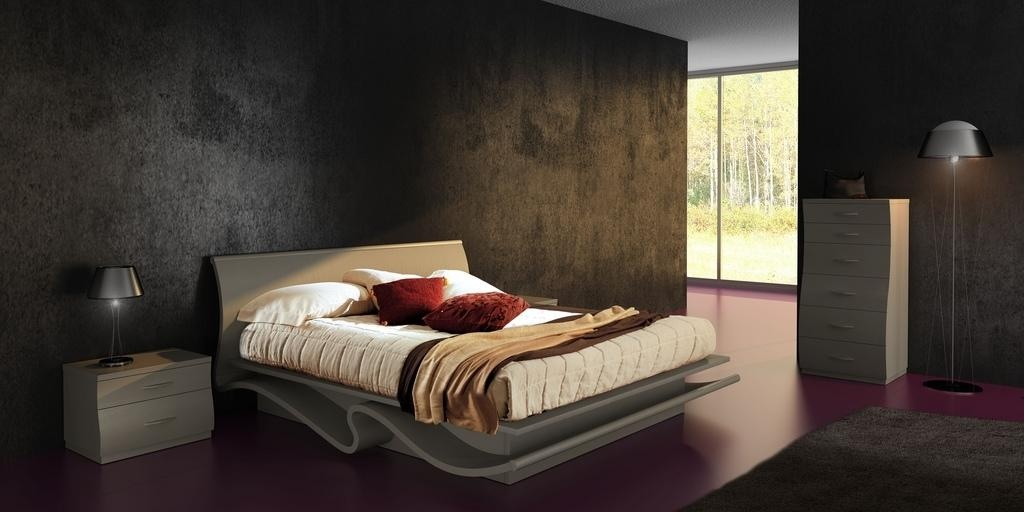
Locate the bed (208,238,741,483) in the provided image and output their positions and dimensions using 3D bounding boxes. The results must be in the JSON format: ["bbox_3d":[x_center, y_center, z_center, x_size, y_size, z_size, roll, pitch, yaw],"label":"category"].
[{"bbox_3d":[-0.724,0.939,6.778,4.369,2.022,2.131,2,6,28],"label":"bed"}]

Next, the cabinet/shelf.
[{"bbox_3d":[3.905,0.393,7.603,0.965,2.120,0.409,0,6,15],"label":"cabinet/shelf"}]

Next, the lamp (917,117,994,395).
[{"bbox_3d":[5.025,-0.012,7.409,0.696,3.057,0.724,3,7,33],"label":"lamp"}]
